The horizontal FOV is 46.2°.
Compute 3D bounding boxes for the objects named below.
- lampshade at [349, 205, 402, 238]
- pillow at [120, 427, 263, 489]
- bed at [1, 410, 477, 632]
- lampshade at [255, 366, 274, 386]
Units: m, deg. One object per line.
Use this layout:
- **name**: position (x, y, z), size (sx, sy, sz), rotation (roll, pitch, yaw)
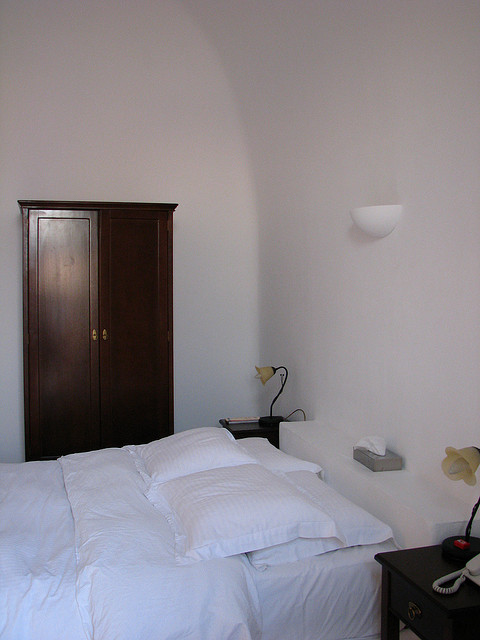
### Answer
- **lampshade**: position (0.558, -0.402, 2.302), size (0.134, 0.127, 0.229), rotation (-4, 8, -9)
- **pillow**: position (-0.202, 0.578, 2.423), size (0.307, 0.077, 0.289), rotation (-7, 12, -26)
- **bed**: position (-0.062, 0.705, 1.899), size (1.011, 0.262, 0.892), rotation (3, 3, -20)
- **lampshade**: position (0.157, 0.326, 3.522), size (0.111, 0.104, 0.104), rotation (-16, 46, -18)
